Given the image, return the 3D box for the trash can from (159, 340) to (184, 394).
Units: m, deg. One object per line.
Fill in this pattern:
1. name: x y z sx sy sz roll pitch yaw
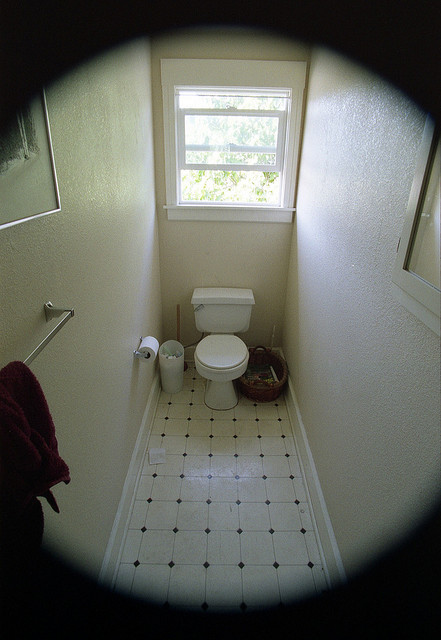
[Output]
1. trash can: -0.295 0.303 2.588 0.142 0.325 0.144 -3 28 -9

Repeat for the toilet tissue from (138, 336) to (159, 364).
1. toilet tissue: -0.336 0.125 1.977 0.078 0.083 0.165 0 34 -4

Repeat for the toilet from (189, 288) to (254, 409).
1. toilet: 0.017 0.184 2.520 0.283 0.590 0.508 -2 26 -4

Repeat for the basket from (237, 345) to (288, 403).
1. basket: 0.255 0.323 2.635 0.251 0.186 0.400 3 32 -2
